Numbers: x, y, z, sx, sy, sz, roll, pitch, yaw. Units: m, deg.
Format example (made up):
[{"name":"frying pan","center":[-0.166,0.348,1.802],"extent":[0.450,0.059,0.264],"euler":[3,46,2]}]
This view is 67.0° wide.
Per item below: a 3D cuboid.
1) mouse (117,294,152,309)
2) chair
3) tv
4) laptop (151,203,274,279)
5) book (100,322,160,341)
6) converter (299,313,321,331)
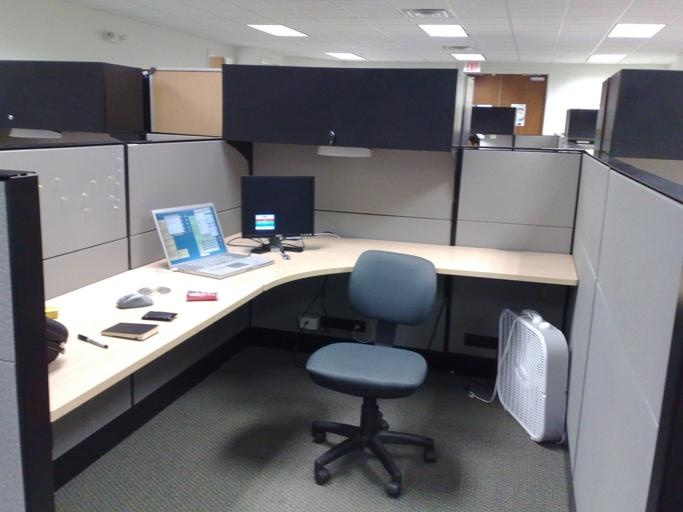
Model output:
[{"name":"mouse","center":[-0.823,0.182,2.055],"extent":[0.088,0.030,0.065],"euler":[-1,11,-19]},{"name":"chair","center":[0.174,0.588,2.546],"extent":[0.747,1.093,0.750],"euler":[9,18,17]},{"name":"tv","center":[-0.370,-0.250,2.970],"extent":[0.430,0.450,0.187],"euler":[-1,5,-12]},{"name":"laptop","center":[-0.662,-0.065,2.612],"extent":[0.446,0.287,0.431],"euler":[9,16,26]},{"name":"book","center":[-0.746,0.260,1.847],"extent":[0.178,0.026,0.132],"euler":[4,14,13]},{"name":"converter","center":[-0.213,0.429,3.361],"extent":[0.160,0.089,0.115],"euler":[-1,-3,19]}]
